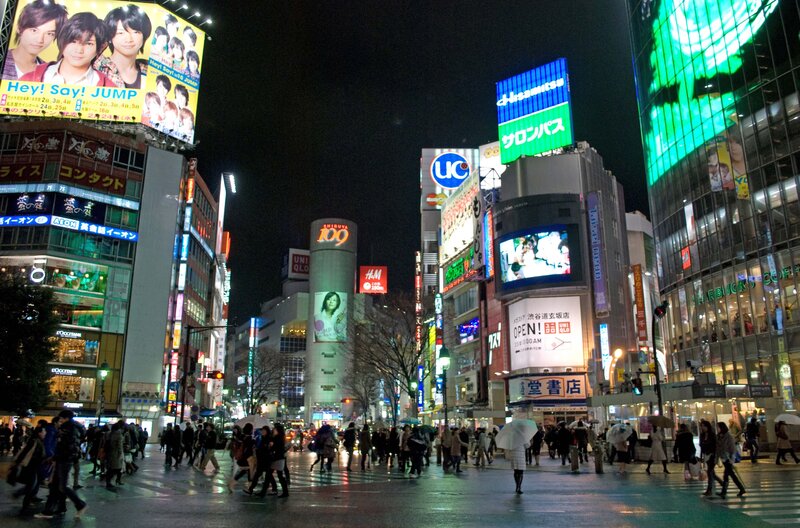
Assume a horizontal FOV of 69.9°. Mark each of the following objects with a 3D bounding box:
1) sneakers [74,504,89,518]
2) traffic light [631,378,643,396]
[{"bbox_3d":[-8.594,6.696,15.575,0.263,0.255,0.672,16,-23,-7],"label":"sneakers"},{"bbox_3d":[12.832,6.593,31.093,0.415,0.792,1.291,-6,-19,18],"label":"traffic light"}]
